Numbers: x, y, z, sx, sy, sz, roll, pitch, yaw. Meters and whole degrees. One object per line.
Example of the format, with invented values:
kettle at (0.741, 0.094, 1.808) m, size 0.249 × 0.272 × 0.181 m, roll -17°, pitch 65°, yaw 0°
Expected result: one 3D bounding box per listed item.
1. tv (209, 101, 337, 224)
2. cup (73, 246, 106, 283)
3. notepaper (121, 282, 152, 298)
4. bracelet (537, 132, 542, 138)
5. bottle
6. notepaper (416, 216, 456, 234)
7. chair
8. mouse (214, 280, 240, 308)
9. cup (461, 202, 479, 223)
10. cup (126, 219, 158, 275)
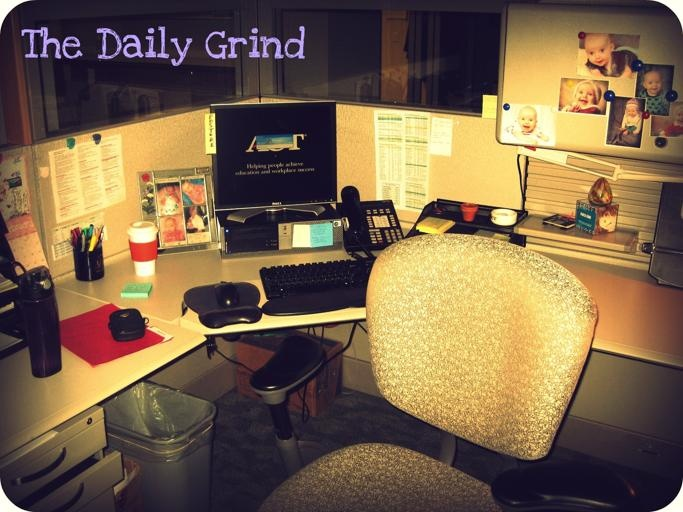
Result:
tv at (-0.294, -0.394, 2.154) m, size 0.484 × 0.399 × 0.050 m, roll -5°, pitch 21°, yaw -9°
cup at (-0.936, 0.023, 1.984) m, size 0.119 × 0.133 × 0.114 m, roll 4°, pitch 21°, yaw -1°
notepaper at (-0.733, 0.121, 1.883) m, size 0.062 × 0.016 × 0.066 m, roll -1°, pitch 26°, yaw -6°
bracelet at (0.742, -0.458, 1.980) m, size 0.020 × 0.020 × 0.005 m, roll 2°, pitch 4°, yaw -1°
bottle at (-0.850, 0.185, 1.478) m, size 0.100 × 0.314 × 0.078 m, roll -5°, pitch 18°, yaw -11°
notepaper at (0.371, -0.126, 2.133) m, size 0.094 × 0.023 × 0.097 m, roll 9°, pitch 31°, yaw 32°
chair at (0.267, 0.324, 1.531) m, size 0.570 × 0.869 × 0.718 m, roll 21°, pitch 40°, yaw 30°
mouse at (-0.391, 0.134, 1.791) m, size 0.060 × 0.092 × 0.026 m, roll -9°, pitch -20°, yaw -6°
cup at (0.522, -0.181, 2.159) m, size 0.070 × 0.068 × 0.072 m, roll 0°, pitch 13°, yaw 0°
cup at (-0.762, -0.035, 2.030) m, size 0.098 × 0.194 × 0.153 m, roll -8°, pitch 19°, yaw -20°
